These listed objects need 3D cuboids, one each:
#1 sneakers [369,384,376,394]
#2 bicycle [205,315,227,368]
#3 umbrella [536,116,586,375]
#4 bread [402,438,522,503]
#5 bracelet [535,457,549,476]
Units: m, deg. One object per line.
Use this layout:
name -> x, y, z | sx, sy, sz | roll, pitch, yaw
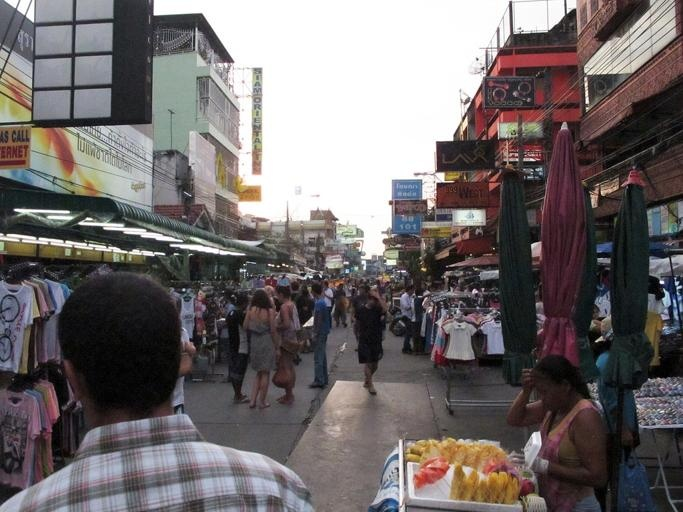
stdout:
sneakers -> 0.614, 2.576, 13.303 | 0.146, 0.156, 0.350 | 0, 1, 1
bicycle -> -3.275, 2.153, 17.480 | 0.221, 1.087, 0.348 | 6, -20, -37
umbrella -> 2.546, -0.151, 7.880 | 0.500, 2.826, 0.461 | 1, 1, 20
bread -> 1.200, 2.118, 6.859 | 1.109, 0.434, 0.842 | 0, 1, 6
bracelet -> 1.984, 2.096, 6.805 | 0.129, 0.161, 0.133 | -1, -11, 29
